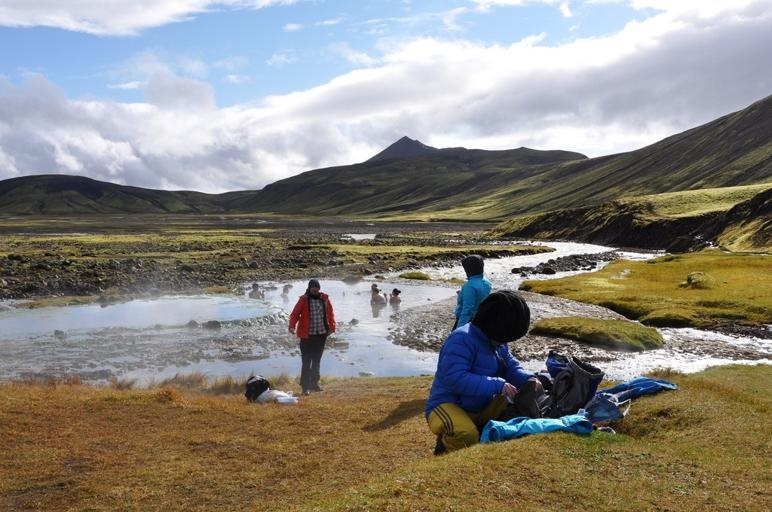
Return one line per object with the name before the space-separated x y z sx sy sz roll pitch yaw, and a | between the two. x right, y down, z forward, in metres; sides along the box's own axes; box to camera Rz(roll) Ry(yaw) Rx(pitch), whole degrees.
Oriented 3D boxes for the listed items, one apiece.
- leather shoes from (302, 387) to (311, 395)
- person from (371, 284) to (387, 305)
leather shoes | -2.950 5.063 22.035 0.254 0.191 0.211 -2 -10 13
person | -0.443 2.560 38.478 0.959 1.016 1.671 3 8 -2
